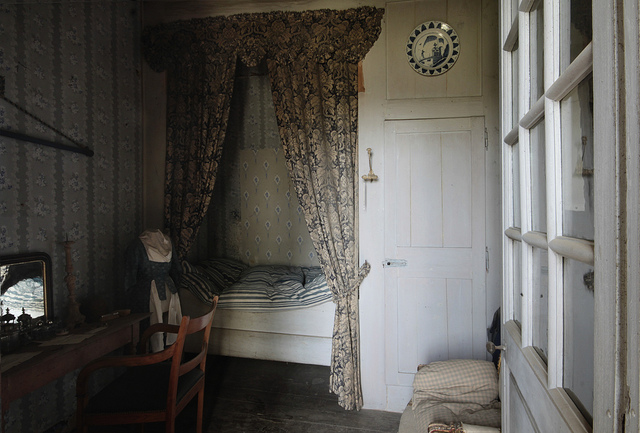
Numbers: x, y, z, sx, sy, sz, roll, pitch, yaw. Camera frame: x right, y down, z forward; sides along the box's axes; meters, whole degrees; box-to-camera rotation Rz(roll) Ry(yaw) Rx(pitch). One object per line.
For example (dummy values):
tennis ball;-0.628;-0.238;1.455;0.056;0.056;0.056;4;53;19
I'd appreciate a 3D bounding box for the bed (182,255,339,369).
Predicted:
bed;-0.494;0.889;4.518;1.195;0.473;0.935;0;1;6

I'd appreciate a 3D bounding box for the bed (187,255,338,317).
bed;-0.628;0.692;4.529;0.935;0.278;0.723;-1;5;3
